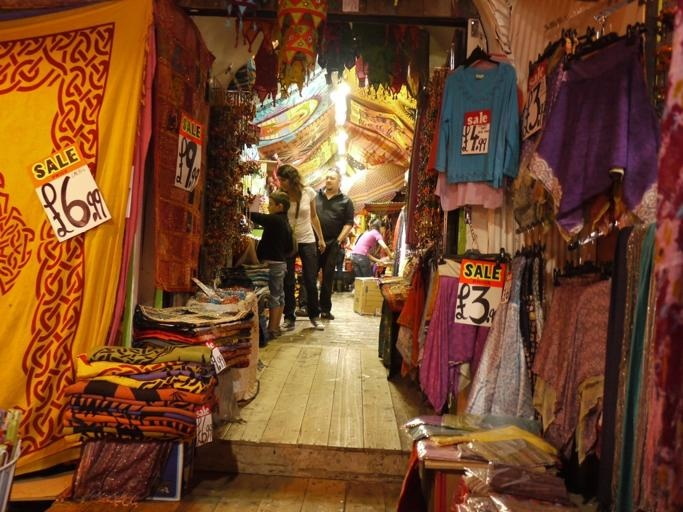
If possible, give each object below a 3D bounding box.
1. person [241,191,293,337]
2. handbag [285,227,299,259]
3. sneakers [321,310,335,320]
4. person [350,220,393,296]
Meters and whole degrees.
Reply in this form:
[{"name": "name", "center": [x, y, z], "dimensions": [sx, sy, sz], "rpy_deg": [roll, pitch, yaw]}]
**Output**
[{"name": "person", "center": [-0.730, 0.079, 5.651], "dimensions": [0.347, 1.594, 0.600], "rpy_deg": [0, -4, 22]}, {"name": "handbag", "center": [-0.531, -0.137, 5.825], "dimensions": [0.242, 0.288, 0.189], "rpy_deg": [-1, 3, -1]}, {"name": "sneakers", "center": [-0.183, 0.814, 7.144], "dimensions": [0.173, 0.194, 0.088], "rpy_deg": [-1, 6, -3]}, {"name": "person", "center": [0.638, -0.139, 10.817], "dimensions": [0.785, 1.220, 1.819], "rpy_deg": [1, -4, 6]}]
